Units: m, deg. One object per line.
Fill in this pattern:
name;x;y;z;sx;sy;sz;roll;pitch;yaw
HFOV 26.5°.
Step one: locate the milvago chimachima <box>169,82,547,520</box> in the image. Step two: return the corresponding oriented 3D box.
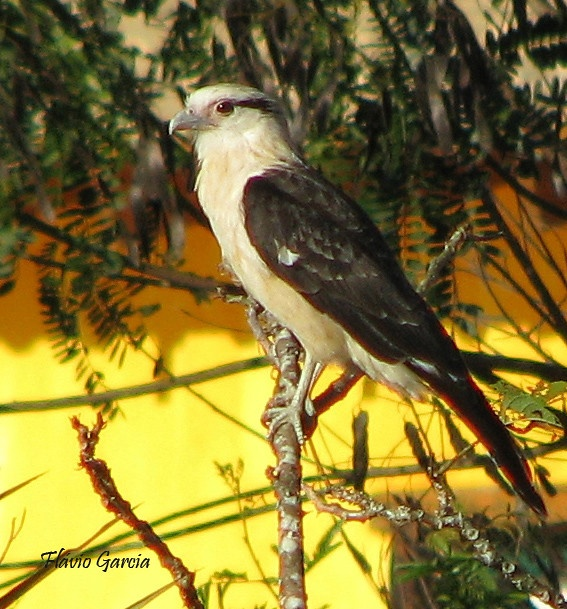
milvago chimachima;0.099;-0.036;2.320;0.340;0.771;0.662;-26;-55;10
